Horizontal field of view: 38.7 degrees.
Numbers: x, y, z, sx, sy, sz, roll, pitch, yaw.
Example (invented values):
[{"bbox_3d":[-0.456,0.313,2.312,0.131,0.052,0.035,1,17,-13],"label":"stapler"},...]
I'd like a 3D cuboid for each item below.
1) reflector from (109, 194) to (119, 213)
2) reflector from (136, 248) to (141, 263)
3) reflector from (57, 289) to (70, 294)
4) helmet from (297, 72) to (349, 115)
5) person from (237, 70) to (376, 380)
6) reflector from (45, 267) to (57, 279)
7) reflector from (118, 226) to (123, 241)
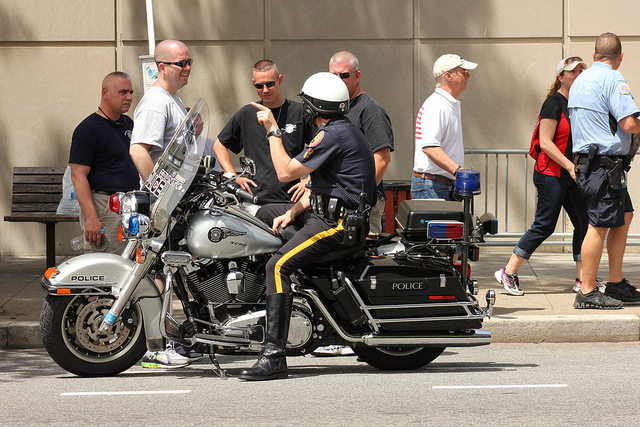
[{"bbox_3d":[-2.028,-0.100,8.905,0.078,0.193,0.185,-10,17,-29],"label":"reflector"},{"bbox_3d":[-1.768,0.413,8.853,0.039,0.113,0.082,4,40,-20],"label":"reflector"},{"bbox_3d":[-2.474,0.753,8.762,0.112,0.052,0.018,-2,15,-3],"label":"reflector"},{"bbox_3d":[0.041,-1.205,9.045,0.521,0.383,0.473,16,29,33],"label":"helmet"},{"bbox_3d":[-0.078,0.181,9.068,1.370,3.084,0.914,-6,16,-15],"label":"person"},{"bbox_3d":[-2.605,0.591,8.861,0.087,0.124,0.038,46,-1,41],"label":"reflector"},{"bbox_3d":[-1.970,0.201,8.962,0.035,0.126,0.136,-3,2,-6],"label":"reflector"}]
